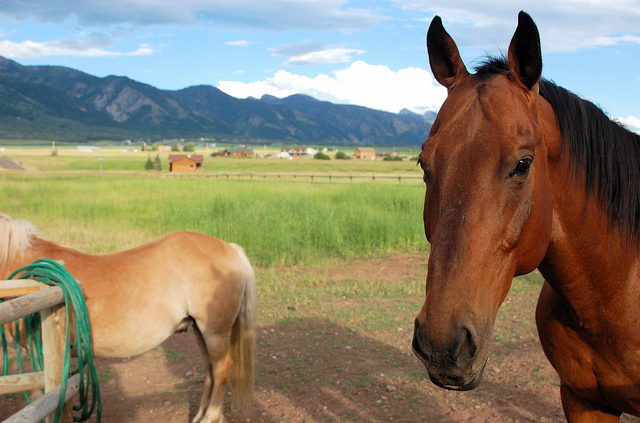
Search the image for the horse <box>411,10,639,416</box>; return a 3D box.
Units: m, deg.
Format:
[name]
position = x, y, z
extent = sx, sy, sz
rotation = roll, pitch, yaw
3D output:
[horse]
position = 2.140, 0.147, 6.338
extent = 2.565, 4.179, 1.781
rotation = -1, 14, -5
